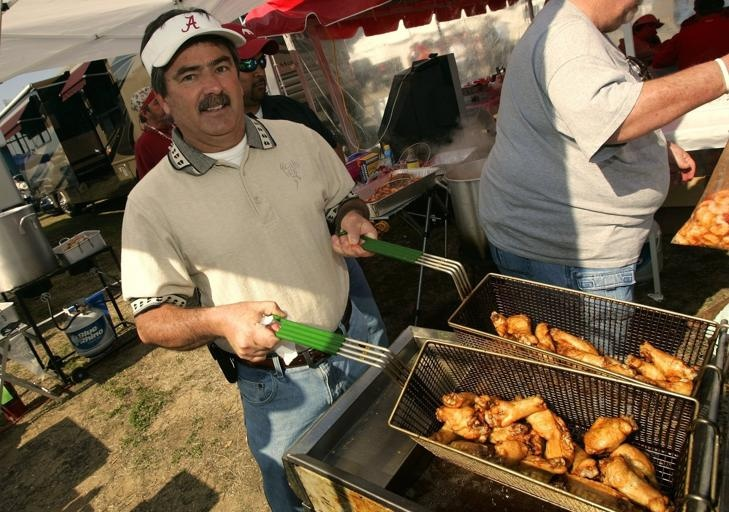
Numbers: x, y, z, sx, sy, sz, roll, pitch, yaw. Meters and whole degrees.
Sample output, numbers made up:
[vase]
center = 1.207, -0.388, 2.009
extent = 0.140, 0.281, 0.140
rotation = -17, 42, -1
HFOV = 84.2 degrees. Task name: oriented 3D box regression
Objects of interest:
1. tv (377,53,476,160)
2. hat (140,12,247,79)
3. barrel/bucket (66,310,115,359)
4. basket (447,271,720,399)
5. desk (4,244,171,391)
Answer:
[tv]
center = 0.944, -2.291, 6.543
extent = 1.337, 1.478, 1.472
rotation = 3, 18, 4
[hat]
center = -0.907, -1.128, 2.126
extent = 0.529, 0.232, 0.205
rotation = -17, 28, -10
[barrel/bucket]
center = -3.691, 1.028, 5.548
extent = 0.515, 0.690, 0.269
rotation = -33, 33, -29
[basket]
center = 1.004, 0.361, 2.001
extent = 1.041, 0.324, 0.458
rotation = 13, 57, 32
[desk]
center = -3.393, 0.776, 4.870
extent = 1.269, 1.519, 1.417
rotation = -12, 22, 16
